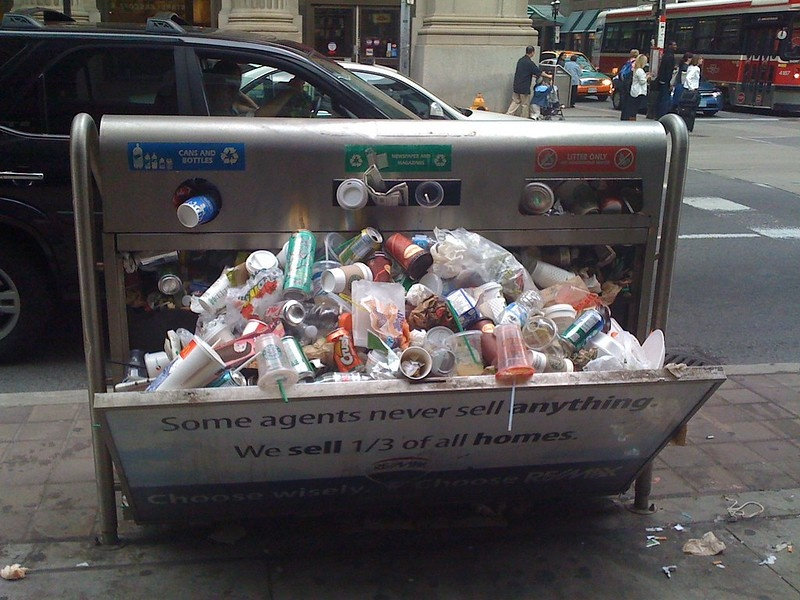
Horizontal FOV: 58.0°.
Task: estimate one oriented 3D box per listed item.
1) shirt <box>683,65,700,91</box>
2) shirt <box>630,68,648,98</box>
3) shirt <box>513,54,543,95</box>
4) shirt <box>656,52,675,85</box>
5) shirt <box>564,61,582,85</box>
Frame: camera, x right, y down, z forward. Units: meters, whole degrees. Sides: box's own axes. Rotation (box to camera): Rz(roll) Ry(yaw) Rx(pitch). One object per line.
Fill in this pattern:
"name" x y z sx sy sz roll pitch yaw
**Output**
"shirt" 7.255 -5.563 17.995 0.438 0.576 0.656 -5 21 -5
"shirt" 6.051 -5.532 18.328 0.425 0.610 0.508 -19 53 -7
"shirt" 3.217 -5.841 18.245 0.647 0.867 0.608 30 59 34
"shirt" 6.798 -5.919 18.420 0.399 0.678 0.631 10 28 15
"shirt" 5.607 -7.329 23.570 0.518 0.763 2.463 7 27 11
